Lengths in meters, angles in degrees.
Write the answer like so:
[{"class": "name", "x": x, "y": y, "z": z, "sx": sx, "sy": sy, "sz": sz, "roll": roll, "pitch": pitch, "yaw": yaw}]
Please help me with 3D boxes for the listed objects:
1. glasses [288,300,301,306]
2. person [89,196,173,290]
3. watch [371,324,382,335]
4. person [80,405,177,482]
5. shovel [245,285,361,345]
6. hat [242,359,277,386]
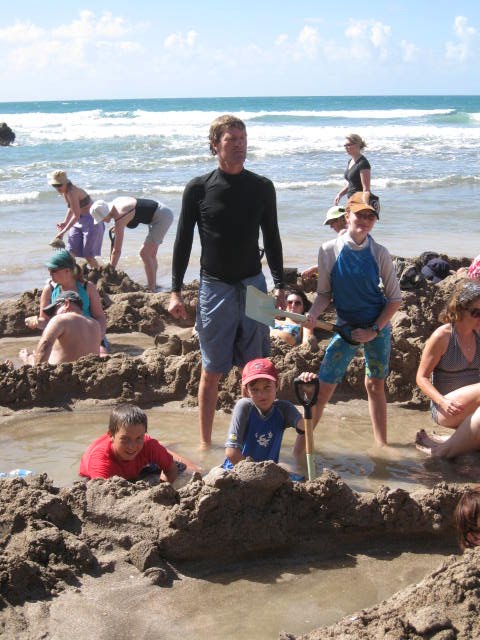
[{"class": "glasses", "x": 0.443, "y": -0.142, "z": 6.485, "sx": 0.097, "sy": 0.082, "sz": 0.027, "roll": 0, "pitch": -10, "yaw": -5}, {"class": "person", "x": -1.299, "y": -0.904, "z": 9.153, "sx": 0.911, "sy": 1.062, "sz": 0.475, "roll": 5, "pitch": 14, "yaw": -9}, {"class": "watch", "x": 0.781, "y": 0.052, "z": 4.470, "sx": 0.047, "sy": 0.056, "sz": 0.062, "roll": 5, "pitch": -18, "yaw": 29}, {"class": "person", "x": -0.643, "y": 0.668, "z": 3.981, "sx": 0.547, "sy": 0.373, "sz": 0.817, "roll": -5, "pitch": -17, "yaw": 5}, {"class": "shovel", "x": 0.315, "y": -0.027, "z": 4.437, "sx": 0.597, "sy": 0.302, "sz": 0.460, "roll": -5, "pitch": 16, "yaw": -41}, {"class": "hat", "x": 0.098, "y": 0.270, "z": 4.067, "sx": 0.140, "sy": 0.090, "sz": 0.169, "roll": -6, "pitch": -22, "yaw": 3}]
